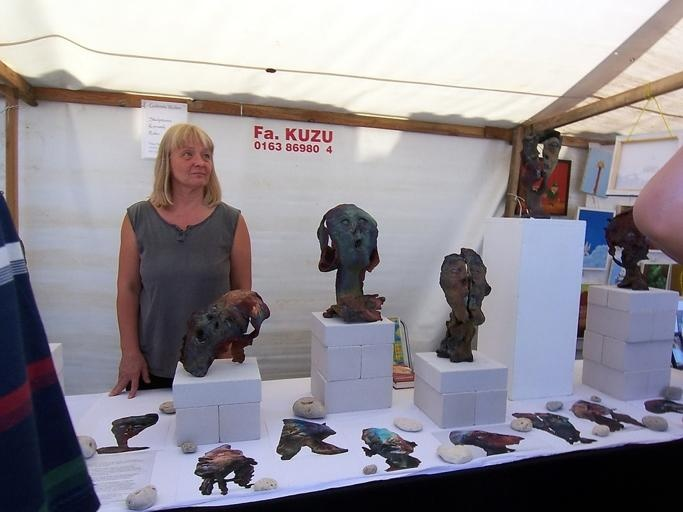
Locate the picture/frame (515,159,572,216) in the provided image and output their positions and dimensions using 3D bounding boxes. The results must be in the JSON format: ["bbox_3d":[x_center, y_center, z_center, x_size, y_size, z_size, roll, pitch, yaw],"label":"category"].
[{"bbox_3d":[1.506,-0.541,3.941,0.513,0.592,0.025,-9,18,-19],"label":"picture/frame"}]

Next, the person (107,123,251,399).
[{"bbox_3d":[-0.873,0.028,2.787,0.752,1.432,0.252,-2,7,-10],"label":"person"}]
